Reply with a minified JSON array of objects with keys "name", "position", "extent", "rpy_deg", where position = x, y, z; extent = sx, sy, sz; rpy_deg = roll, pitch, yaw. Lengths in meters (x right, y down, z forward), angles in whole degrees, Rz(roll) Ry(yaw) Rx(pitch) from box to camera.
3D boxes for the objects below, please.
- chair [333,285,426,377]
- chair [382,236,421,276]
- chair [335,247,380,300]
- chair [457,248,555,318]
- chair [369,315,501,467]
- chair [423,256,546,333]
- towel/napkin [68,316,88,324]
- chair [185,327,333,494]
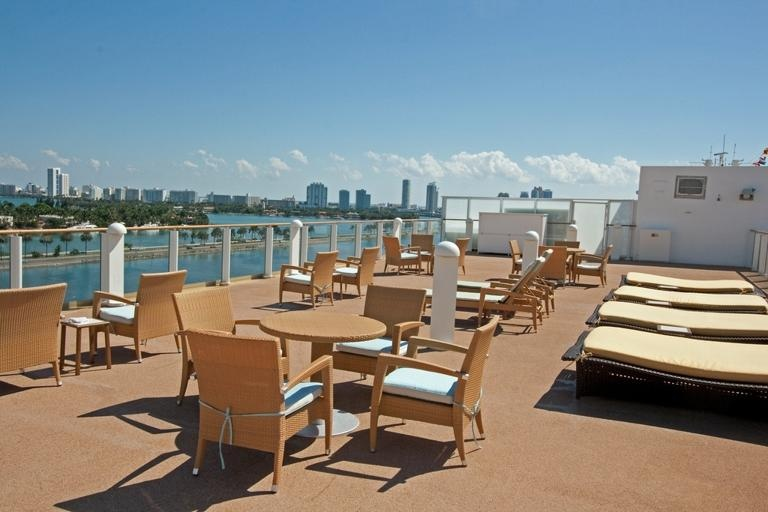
[{"name":"chair","position":[-0.069,0.850,6.193],"extent":[0.855,0.986,0.916],"rpy_deg":[4,3,23]},{"name":"chair","position":[0.364,-0.030,13.882],"extent":[0.990,1.106,0.901],"rpy_deg":[-3,8,-28]},{"name":"chair","position":[-0.556,0.263,10.758],"extent":[0.980,1.032,0.844],"rpy_deg":[1,5,24]},{"name":"chair","position":[1.982,0.404,9.146],"extent":[1.551,0.900,1.054],"rpy_deg":[1,2,20]},{"name":"chair","position":[0.493,1.148,5.239],"extent":[0.996,1.087,0.869],"rpy_deg":[3,5,19]},{"name":"chair","position":[1.644,0.555,9.055],"extent":[1.710,1.054,1.089],"rpy_deg":[3,3,19]},{"name":"towel/napkin","position":[-3.379,0.712,6.257],"extent":[0.207,0.038,0.222],"rpy_deg":[-2,4,-45]},{"name":"chair","position":[-1.091,1.212,4.928],"extent":[0.961,1.186,1.032],"rpy_deg":[2,1,22]}]
